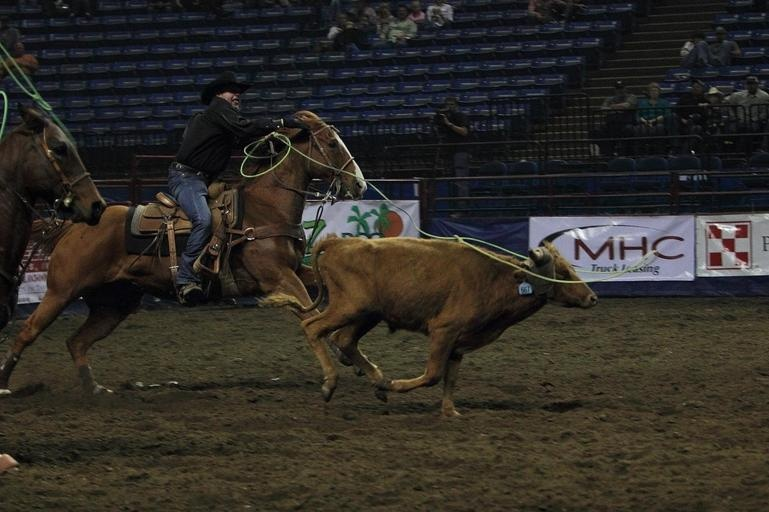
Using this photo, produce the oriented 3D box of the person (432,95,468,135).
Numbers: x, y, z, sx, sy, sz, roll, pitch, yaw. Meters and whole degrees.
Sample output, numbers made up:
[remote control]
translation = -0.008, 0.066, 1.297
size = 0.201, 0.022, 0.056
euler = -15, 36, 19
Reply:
[person]
translation = 1.473, -2.944, 21.006
size = 0.404, 0.815, 0.718
euler = -16, 22, -42
